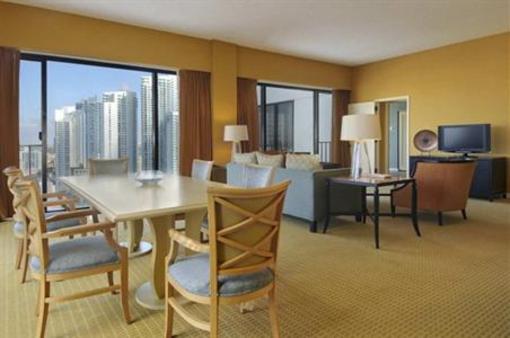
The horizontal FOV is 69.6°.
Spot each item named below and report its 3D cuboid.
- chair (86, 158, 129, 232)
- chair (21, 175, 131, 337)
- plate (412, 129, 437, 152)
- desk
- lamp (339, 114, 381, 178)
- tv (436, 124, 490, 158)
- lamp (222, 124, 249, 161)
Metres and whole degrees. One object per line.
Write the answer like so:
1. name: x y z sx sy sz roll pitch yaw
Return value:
1. chair: -2.295 0.237 5.756 0.702 0.667 1.001 13 -20 -19
2. chair: -1.905 0.715 4.355 1.416 1.974 1.465 -2 3 -31
3. plate: 3.913 -0.647 8.500 0.503 0.523 0.214 4 8 25
4. desk: 1.735 0.572 5.476 1.166 0.841 0.911 -3 6 -38
5. lamp: 1.588 -0.327 5.685 0.576 0.871 0.577 16 32 39
6. tv: 4.509 -0.614 7.983 0.272 0.706 1.042 -12 11 -35
7. lamp: -0.423 -0.514 7.861 0.516 0.777 0.527 -5 -3 42
